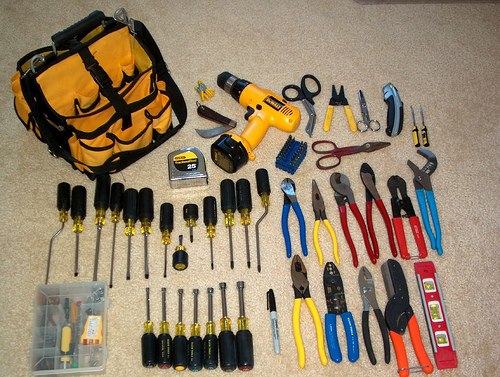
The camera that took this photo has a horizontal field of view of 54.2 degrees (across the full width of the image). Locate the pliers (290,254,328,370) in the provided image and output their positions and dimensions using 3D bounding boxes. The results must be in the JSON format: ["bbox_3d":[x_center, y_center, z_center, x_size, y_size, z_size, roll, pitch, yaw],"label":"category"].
[{"bbox_3d":[0.321,0.670,2.681,0.179,0.609,0.111,-3,-14,5],"label":"pliers"}]

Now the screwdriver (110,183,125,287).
[{"bbox_3d":[-0.771,0.271,2.818,0.074,0.602,0.125,1,-14,-14],"label":"screwdriver"}]

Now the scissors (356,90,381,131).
[{"bbox_3d":[0.753,-0.515,3.189,0.116,0.278,0.021,-10,-27,1],"label":"scissors"}]

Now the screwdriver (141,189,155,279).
[{"bbox_3d":[-0.598,0.261,2.820,0.086,0.525,0.105,1,-14,-12],"label":"screwdriver"}]

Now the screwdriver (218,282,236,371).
[{"bbox_3d":[-0.123,0.747,2.634,0.089,0.467,0.163,0,-14,-10],"label":"screwdriver"}]

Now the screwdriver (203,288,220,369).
[{"bbox_3d":[-0.212,0.755,2.628,0.079,0.428,0.171,-1,-14,-6],"label":"screwdriver"}]

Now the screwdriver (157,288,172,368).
[{"bbox_3d":[-0.455,0.749,2.618,0.077,0.421,0.141,1,-14,-11],"label":"screwdriver"}]

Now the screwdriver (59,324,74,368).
[{"bbox_3d":[-0.959,0.827,2.548,0.059,0.221,0.043,3,-14,-20],"label":"screwdriver"}]

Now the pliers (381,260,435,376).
[{"bbox_3d":[0.833,0.692,2.619,0.171,0.659,0.077,-9,-20,-3],"label":"pliers"}]

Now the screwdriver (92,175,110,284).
[{"bbox_3d":[-0.862,0.231,2.814,0.081,0.618,0.085,-3,-11,28],"label":"screwdriver"}]

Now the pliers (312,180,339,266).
[{"bbox_3d":[0.441,0.190,2.870,0.140,0.530,0.129,-5,-14,14],"label":"pliers"}]

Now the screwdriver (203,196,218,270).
[{"bbox_3d":[-0.228,0.262,2.835,0.082,0.423,0.097,-1,-14,-5],"label":"screwdriver"}]

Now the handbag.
[{"bbox_3d":[-0.885,-0.577,2.931,0.990,0.990,0.638,-11,-19,-23],"label":"handbag"}]

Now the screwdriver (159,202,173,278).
[{"bbox_3d":[-0.478,0.302,2.811,0.073,0.428,0.093,1,-14,-10],"label":"screwdriver"}]

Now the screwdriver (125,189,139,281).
[{"bbox_3d":[-0.687,0.266,2.807,0.085,0.520,0.111,1,-14,-12],"label":"screwdriver"}]

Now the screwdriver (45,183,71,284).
[{"bbox_3d":[-1.096,0.258,2.802,0.114,0.577,0.113,3,-14,-20],"label":"screwdriver"}]

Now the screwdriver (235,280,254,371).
[{"bbox_3d":[-0.027,0.741,2.632,0.092,0.468,0.156,-2,-14,0],"label":"screwdriver"}]

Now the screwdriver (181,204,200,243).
[{"bbox_3d":[-0.342,0.208,2.850,0.091,0.219,0.088,0,-14,-7],"label":"screwdriver"}]

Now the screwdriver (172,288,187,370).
[{"bbox_3d":[-0.369,0.757,2.619,0.077,0.425,0.148,0,-14,-9],"label":"screwdriver"}]

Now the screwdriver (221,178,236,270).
[{"bbox_3d":[-0.118,0.202,2.842,0.083,0.515,0.083,-2,-22,-7],"label":"screwdriver"}]

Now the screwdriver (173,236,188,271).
[{"bbox_3d":[-0.392,0.367,2.771,0.086,0.197,0.111,0,-14,-9],"label":"screwdriver"}]

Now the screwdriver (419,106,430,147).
[{"bbox_3d":[1.127,-0.402,3.176,0.041,0.261,0.038,-5,-26,8],"label":"screwdriver"}]

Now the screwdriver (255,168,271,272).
[{"bbox_3d":[0.078,0.186,2.876,0.094,0.610,0.077,-2,-13,-1],"label":"screwdriver"}]

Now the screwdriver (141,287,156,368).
[{"bbox_3d":[-0.538,0.745,2.615,0.079,0.419,0.151,2,-14,-15],"label":"screwdriver"}]

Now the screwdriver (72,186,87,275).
[{"bbox_3d":[-0.986,0.248,2.802,0.088,0.520,0.106,3,-14,-20],"label":"screwdriver"}]

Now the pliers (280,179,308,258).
[{"bbox_3d":[0.251,0.164,2.868,0.119,0.567,0.036,-8,-42,4],"label":"pliers"}]

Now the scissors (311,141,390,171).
[{"bbox_3d":[0.639,-0.212,3.113,0.470,0.217,0.058,-8,-31,-2],"label":"scissors"}]

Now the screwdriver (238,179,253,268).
[{"bbox_3d":[-0.027,0.205,2.858,0.090,0.525,0.097,-2,-14,-2],"label":"screwdriver"}]

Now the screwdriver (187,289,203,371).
[{"bbox_3d":[-0.290,0.758,2.625,0.075,0.425,0.163,0,-14,-6],"label":"screwdriver"}]

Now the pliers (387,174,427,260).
[{"bbox_3d":[0.918,0.181,2.912,0.134,0.620,0.059,-4,-40,4],"label":"pliers"}]
